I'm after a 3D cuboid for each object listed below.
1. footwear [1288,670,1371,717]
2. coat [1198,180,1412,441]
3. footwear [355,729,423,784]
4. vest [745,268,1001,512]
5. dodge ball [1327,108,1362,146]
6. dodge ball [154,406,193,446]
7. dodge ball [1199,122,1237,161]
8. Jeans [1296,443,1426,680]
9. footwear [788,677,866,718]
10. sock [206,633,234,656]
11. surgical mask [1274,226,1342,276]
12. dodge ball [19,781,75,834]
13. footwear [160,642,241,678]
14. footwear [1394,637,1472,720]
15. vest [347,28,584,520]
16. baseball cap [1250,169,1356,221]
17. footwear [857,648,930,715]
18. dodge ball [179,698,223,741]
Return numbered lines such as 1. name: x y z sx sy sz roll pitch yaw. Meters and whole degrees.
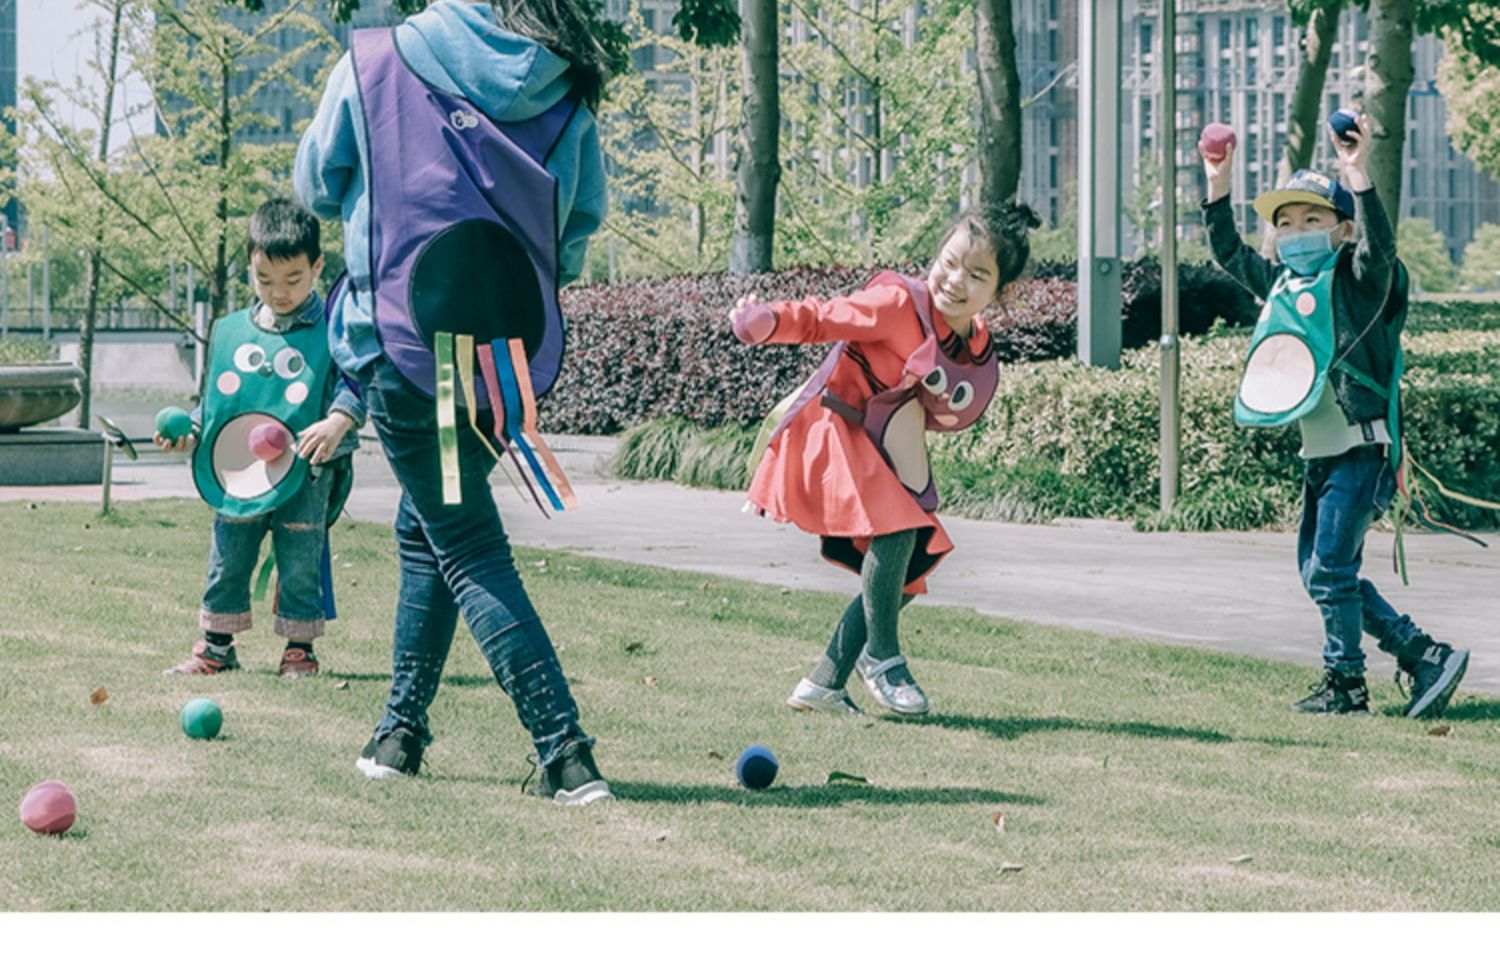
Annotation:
1. footwear: 2.742 1.017 8.552 0.268 0.129 0.216 -5 5 10
2. coat: 2.638 -0.872 8.795 0.979 1.093 0.634 6 12 28
3. footwear: -1.463 1.117 7.425 0.238 0.184 0.102 -9 -9 -9
4. vest: 0.712 -0.373 8.476 0.648 1.001 1.007 30 19 34
5. dodge ball: 2.720 -1.615 8.378 0.135 0.143 0.176 -1 5 0
6. dodge ball: -2.776 -0.253 8.794 0.168 0.170 0.256 2 11 4
7. dodge ball: 2.271 -1.651 8.807 0.146 0.151 0.193 -7 35 -9
8. Jeans: 2.868 0.385 8.596 0.541 1.079 0.354 4 11 17
9. footwear: 0.338 1.018 8.402 0.373 0.151 0.147 10 -1 -13
10. sock: -2.608 0.808 8.989 0.097 0.117 0.128 5 15 1
11. surgical mask: 2.640 -1.066 8.692 0.219 0.183 0.228 -3 -3 34
12. dodge ball: -2.705 1.276 7.049 0.202 0.169 0.175 -9 -43 23
13. footwear: -2.698 0.899 8.960 0.377 0.179 0.132 1 -2 -17
14. footwear: 3.147 0.913 8.578 0.279 0.348 0.343 -6 13 -34
15. vest: -1.095 -0.777 7.233 0.921 2.061 0.321 1 -21 -14
16. baseball cap: 2.674 -1.341 8.696 0.361 0.135 0.259 18 -7 -21
17. footwear: 0.675 0.936 8.432 0.226 0.228 0.519 2 10 -18
18. dodge ball: -2.411 1.017 7.979 0.193 0.175 0.173 0 24 2
